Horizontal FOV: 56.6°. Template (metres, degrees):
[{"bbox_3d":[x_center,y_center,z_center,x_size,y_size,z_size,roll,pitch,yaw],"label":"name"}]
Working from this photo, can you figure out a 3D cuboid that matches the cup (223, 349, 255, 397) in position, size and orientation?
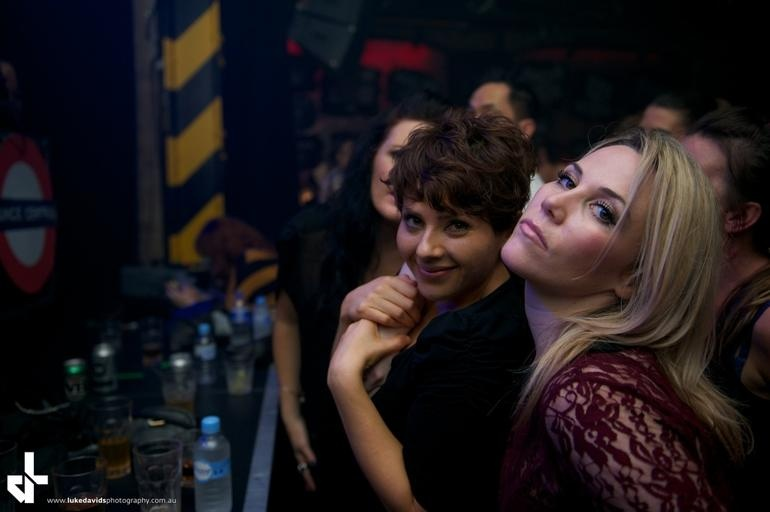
[{"bbox_3d":[-0.672,0.531,3.319,0.174,0.212,0.190,-3,0,0],"label":"cup"}]
